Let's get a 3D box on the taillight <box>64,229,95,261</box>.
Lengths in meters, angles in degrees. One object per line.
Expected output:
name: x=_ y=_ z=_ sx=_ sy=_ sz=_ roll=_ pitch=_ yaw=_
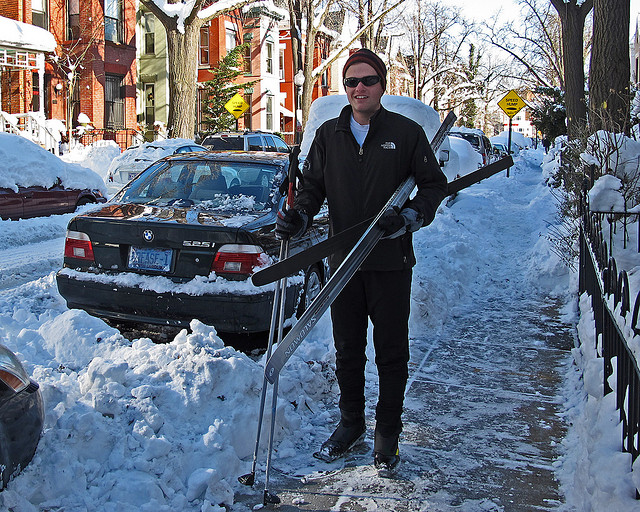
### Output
taillight: x=-2.260 y=-0.097 z=5.491 sx=0.356 sy=0.235 sz=0.099 roll=22 pitch=8 yaw=29

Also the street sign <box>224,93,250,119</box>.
street sign: x=-2.818 y=-5.122 z=19.853 sx=0.662 sy=0.820 sz=1.305 roll=1 pitch=11 yaw=-6

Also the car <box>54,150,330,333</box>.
car: x=-1.248 y=-0.054 z=5.350 sx=1.415 sy=1.021 sz=2.798 roll=3 pitch=11 yaw=24

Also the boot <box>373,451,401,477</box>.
boot: x=0.427 y=1.331 z=3.719 sx=0.161 sy=0.105 sz=0.135 roll=4 pitch=11 yaw=7

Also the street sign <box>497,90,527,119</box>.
street sign: x=7.474 y=-5.918 z=22.650 sx=0.909 sy=1.100 sz=1.147 roll=7 pitch=12 yaw=25
